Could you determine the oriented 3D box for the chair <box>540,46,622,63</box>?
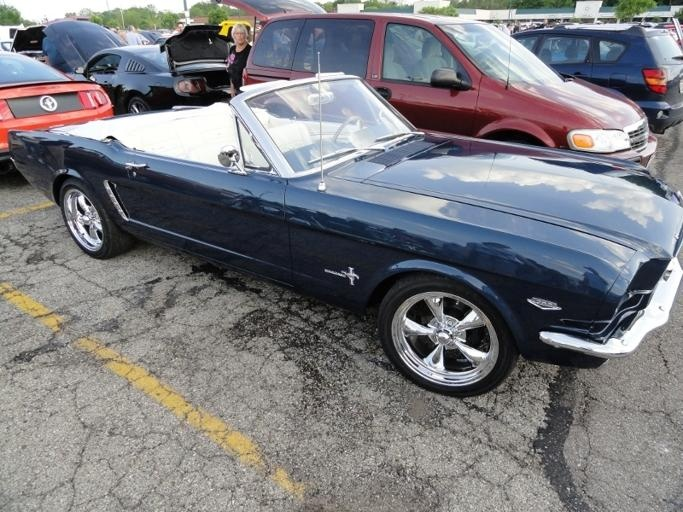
[{"bbox_3d":[3.938,-3.368,7.695,1.144,0.317,0.512,22,48,40],"label":"chair"}]

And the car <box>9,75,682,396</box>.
[{"bbox_3d":[-0.829,-0.599,4.369,6.697,1.638,2.419,13,30,24],"label":"car"}]
